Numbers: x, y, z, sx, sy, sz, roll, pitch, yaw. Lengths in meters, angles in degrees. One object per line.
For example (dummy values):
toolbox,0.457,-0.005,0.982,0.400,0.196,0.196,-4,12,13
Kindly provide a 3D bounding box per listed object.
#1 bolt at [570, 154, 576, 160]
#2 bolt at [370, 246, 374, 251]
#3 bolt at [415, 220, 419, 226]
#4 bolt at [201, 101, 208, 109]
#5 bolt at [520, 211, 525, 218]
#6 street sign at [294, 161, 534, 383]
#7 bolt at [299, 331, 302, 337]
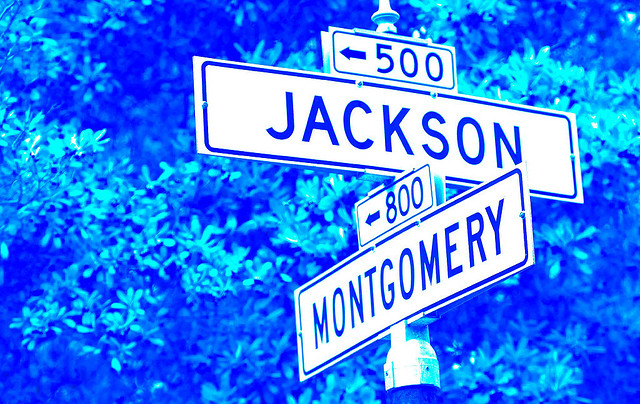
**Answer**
bolt,1.367,-0.243,5.591,0.022,0.012,0.025,-12,82,-3
bolt,0.279,0.239,5.423,0.018,0.013,0.021,1,87,8
bolt,0.505,0.106,5.334,0.017,0.027,0.015,12,35,15
bolt,-0.591,-0.500,5.362,0.035,0.009,0.039,5,86,-11
bolt,1.017,0.060,5.183,0.017,0.007,0.028,9,75,13
street sign,0.583,0.466,6.050,1.430,0.013,0.562,-30,62,26
bolt,-0.099,0.704,5.592,0.005,0.021,0.022,4,95,-18
